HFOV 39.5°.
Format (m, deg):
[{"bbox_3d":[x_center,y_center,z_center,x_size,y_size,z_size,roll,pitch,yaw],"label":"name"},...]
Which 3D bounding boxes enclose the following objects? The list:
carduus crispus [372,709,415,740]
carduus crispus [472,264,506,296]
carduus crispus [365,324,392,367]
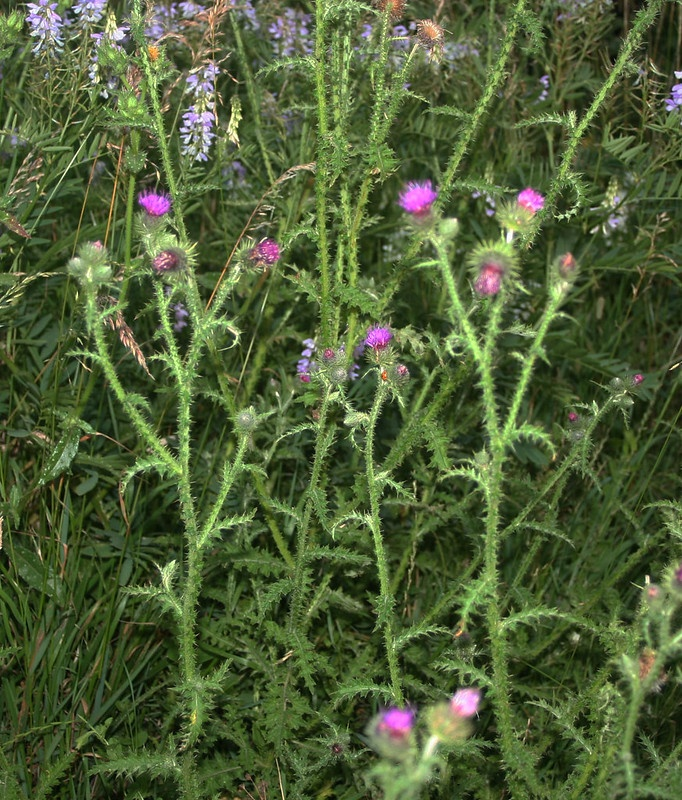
[{"bbox_3d":[0.100,0.569,1.648,0.056,0.033,0.064,-7,6,2],"label":"carduus crispus"},{"bbox_3d":[0.317,-0.262,2.067,0.062,0.084,0.057,14,7,-10],"label":"carduus crispus"},{"bbox_3d":[0.095,-0.144,2.381,0.088,0.094,0.081,0,-1,-6],"label":"carduus crispus"}]
